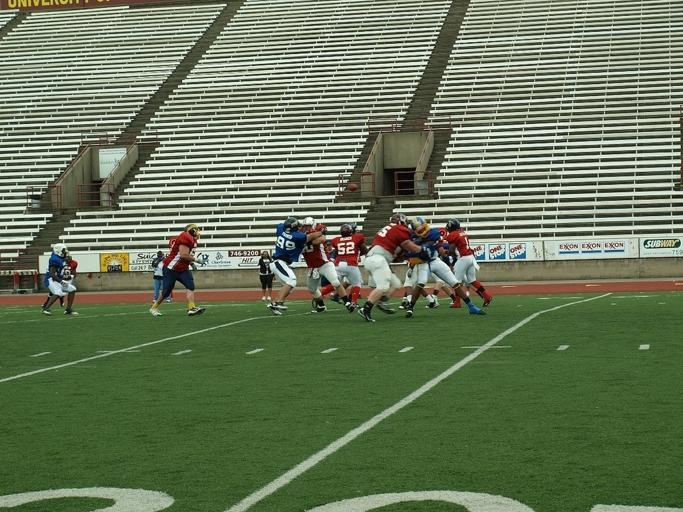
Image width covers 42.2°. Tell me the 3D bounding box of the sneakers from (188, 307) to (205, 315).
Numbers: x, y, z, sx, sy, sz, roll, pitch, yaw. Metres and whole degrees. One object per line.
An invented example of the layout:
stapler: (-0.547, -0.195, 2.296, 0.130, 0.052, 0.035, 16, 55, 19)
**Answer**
sneakers: (-2.695, 1.039, 16.956, 0.197, 0.122, 0.409, -11, -6, 21)

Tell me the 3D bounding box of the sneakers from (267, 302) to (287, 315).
sneakers: (-1.242, 0.971, 16.731, 0.279, 0.150, 0.393, 32, -16, -21)

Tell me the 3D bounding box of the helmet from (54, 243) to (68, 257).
helmet: (-6.140, -0.114, 19.442, 0.226, 0.235, 0.293, 14, 22, 31)

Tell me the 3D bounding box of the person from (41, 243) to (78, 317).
person: (-6.133, 0.493, 19.475, 0.683, 1.330, 2.068, 3, -1, -17)

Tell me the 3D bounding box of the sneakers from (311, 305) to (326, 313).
sneakers: (-0.417, 1.074, 17.528, 0.116, 0.123, 0.304, -1, -8, 26)

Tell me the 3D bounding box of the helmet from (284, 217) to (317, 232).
helmet: (-0.805, -0.602, 16.679, 0.515, 0.182, 0.298, -3, 5, -35)
